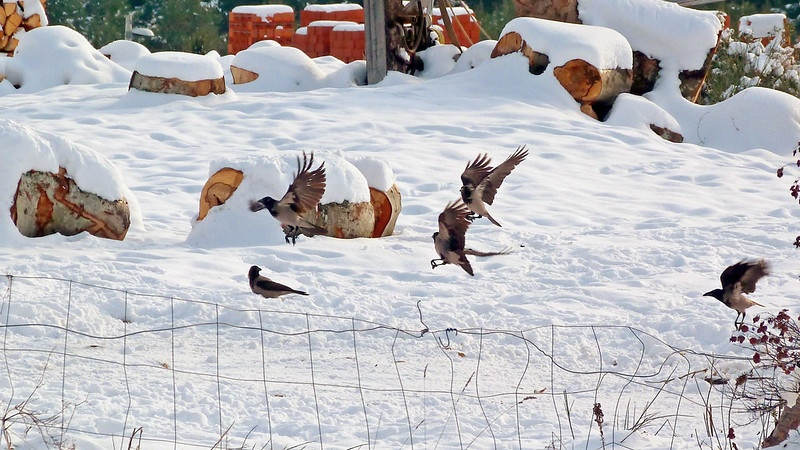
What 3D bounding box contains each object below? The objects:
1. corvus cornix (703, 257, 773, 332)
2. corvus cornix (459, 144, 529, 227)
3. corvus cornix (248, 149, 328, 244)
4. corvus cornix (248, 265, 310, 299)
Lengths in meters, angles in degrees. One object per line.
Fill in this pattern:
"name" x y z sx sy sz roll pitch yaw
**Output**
"corvus cornix" 5.884 1.212 30.011 0.964 0.997 1.494 2 -11 -15
"corvus cornix" 1.784 -0.708 32.566 0.965 0.889 1.407 33 -17 -12
"corvus cornix" -2.126 -0.467 31.648 1.059 0.740 1.564 -6 -25 -27
"corvus cornix" -2.247 1.032 30.418 1.101 0.570 0.390 3 -14 -24
